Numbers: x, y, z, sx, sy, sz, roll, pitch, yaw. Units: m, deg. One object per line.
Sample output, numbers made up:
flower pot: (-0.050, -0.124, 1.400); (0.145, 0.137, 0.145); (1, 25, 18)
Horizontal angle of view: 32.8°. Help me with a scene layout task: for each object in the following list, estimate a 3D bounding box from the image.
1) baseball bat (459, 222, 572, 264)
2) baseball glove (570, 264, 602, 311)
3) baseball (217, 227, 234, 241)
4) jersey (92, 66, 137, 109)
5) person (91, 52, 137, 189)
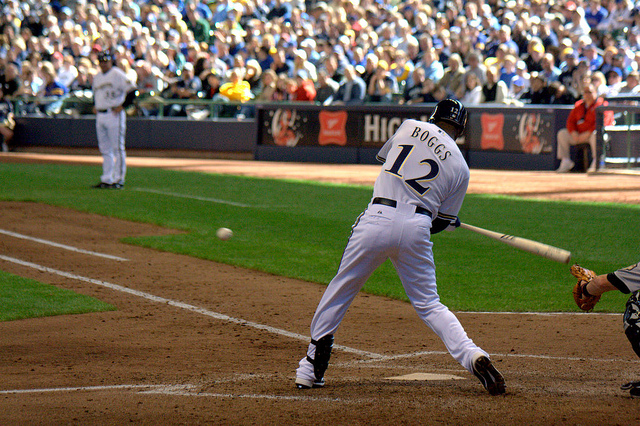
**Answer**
baseball bat: (3.380, 0.564, 18.806); (1.815, 0.190, 0.198); (19, -20, 18)
baseball glove: (3.931, 1.116, 15.874); (0.483, 0.621, 0.242); (35, 14, 31)
baseball: (-1.705, 0.409, 19.864); (0.244, 0.168, 0.230); (7, -3, 4)
jersey: (-4.399, -2.560, 22.415); (1.267, 0.886, 0.435); (-6, 21, -18)
person: (-4.245, -1.887, 22.481); (0.864, 2.879, 1.205); (7, -7, -39)
